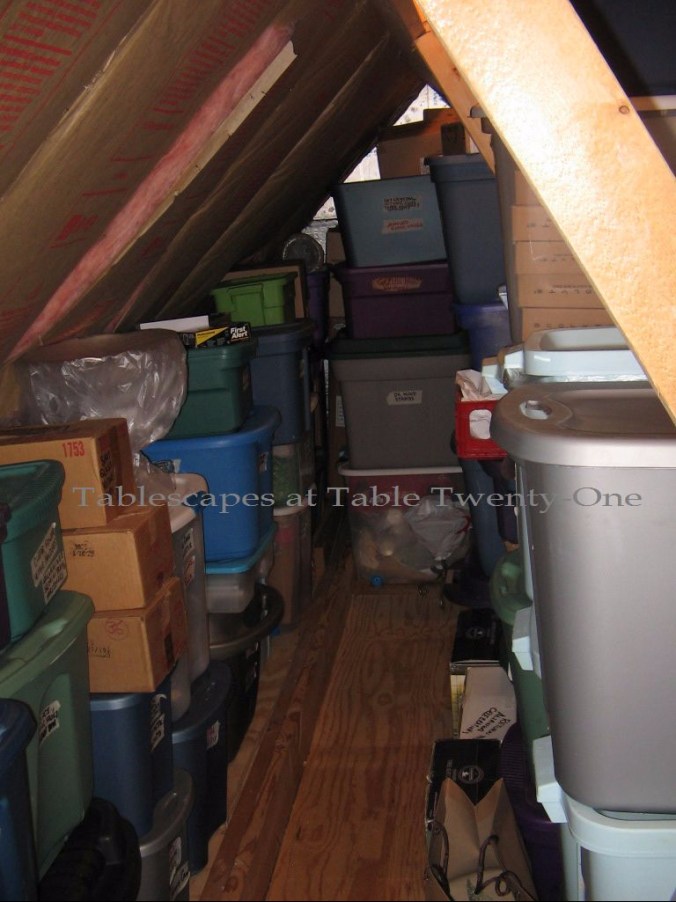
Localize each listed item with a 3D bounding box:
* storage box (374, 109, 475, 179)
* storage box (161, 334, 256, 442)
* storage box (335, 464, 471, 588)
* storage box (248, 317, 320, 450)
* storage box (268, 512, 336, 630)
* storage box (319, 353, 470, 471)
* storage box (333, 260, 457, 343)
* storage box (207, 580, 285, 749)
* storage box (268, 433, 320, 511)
[{"bbox_3d":[0.451,-1.721,4.071,0.415,0.292,0.257,-2,22,39],"label":"storage box"},{"bbox_3d":[-0.480,-0.222,2.454,0.419,0.264,0.314,-6,19,3],"label":"storage box"},{"bbox_3d":[0.289,0.317,3.217,0.578,0.368,0.418,-3,3,4],"label":"storage box"},{"bbox_3d":[-0.286,-0.317,3.117,0.367,0.452,0.466,-2,16,10],"label":"storage box"},{"bbox_3d":[-0.151,0.497,2.960,0.151,0.339,0.402,1,24,4],"label":"storage box"},{"bbox_3d":[0.222,-0.258,3.610,0.662,0.586,0.798,-4,13,-9],"label":"storage box"},{"bbox_3d":[0.266,-0.659,3.238,0.473,0.272,0.319,-4,11,-1],"label":"storage box"},{"bbox_3d":[-0.275,0.644,2.234,0.356,0.297,0.411,-1,20,4],"label":"storage box"},{"bbox_3d":[-0.200,0.091,2.985,0.145,0.198,0.139,-12,15,-6],"label":"storage box"}]
